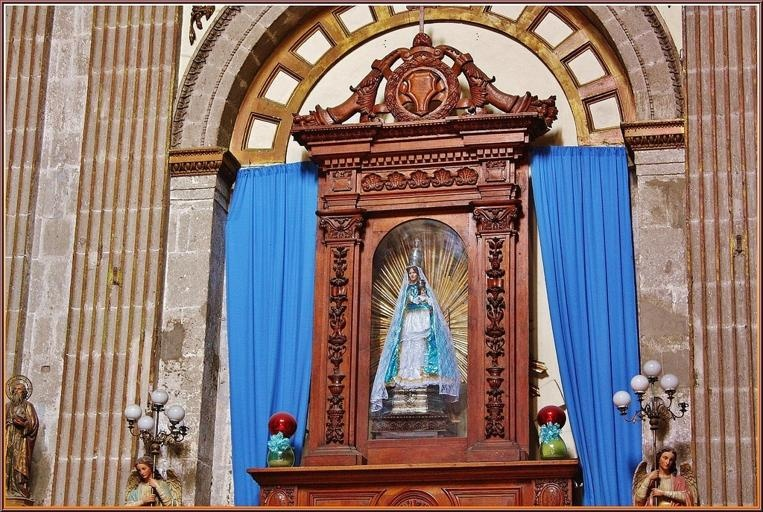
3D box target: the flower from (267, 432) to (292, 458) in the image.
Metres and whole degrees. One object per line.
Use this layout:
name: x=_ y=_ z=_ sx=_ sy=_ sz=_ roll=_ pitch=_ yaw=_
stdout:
flower: x=-1.014 y=1.896 z=19.941 sx=0.231 sy=0.266 sz=0.129 roll=3 pitch=-20 yaw=-11

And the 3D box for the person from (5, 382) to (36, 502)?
person: x=-3.728 y=1.866 z=20.377 sx=0.316 sy=1.342 sz=0.209 roll=6 pitch=-21 yaw=-19

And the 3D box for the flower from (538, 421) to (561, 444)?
flower: x=1.687 y=1.764 z=19.659 sx=0.250 sy=0.211 sz=0.208 roll=-8 pitch=-21 yaw=17
